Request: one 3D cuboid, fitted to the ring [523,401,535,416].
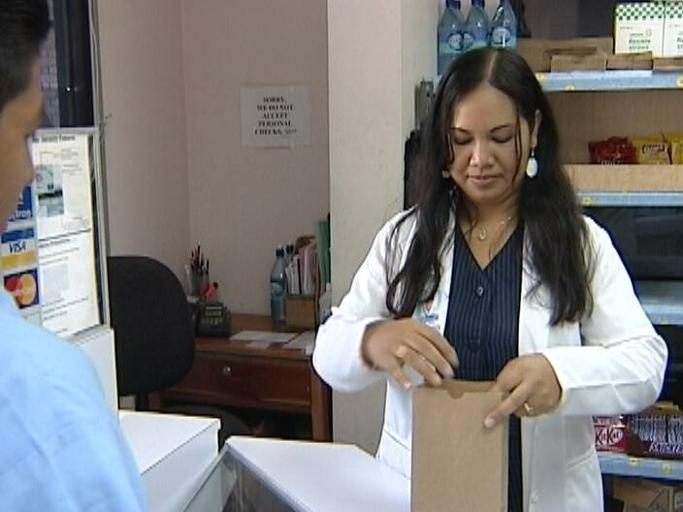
[{"bbox_3d":[0.346,0.287,1.124,0.020,0.024,0.022,-4,9,-15],"label":"ring"}]

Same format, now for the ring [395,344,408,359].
[{"bbox_3d":[0.125,0.196,1.228,0.018,0.021,0.032,-6,8,-17],"label":"ring"}]

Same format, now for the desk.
[{"bbox_3d":[-0.413,0.587,2.854,0.666,0.743,0.528,1,3,20],"label":"desk"}]

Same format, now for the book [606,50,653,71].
[{"bbox_3d":[1.078,-0.724,2.268,0.078,0.045,0.116,1,8,14],"label":"book"}]
